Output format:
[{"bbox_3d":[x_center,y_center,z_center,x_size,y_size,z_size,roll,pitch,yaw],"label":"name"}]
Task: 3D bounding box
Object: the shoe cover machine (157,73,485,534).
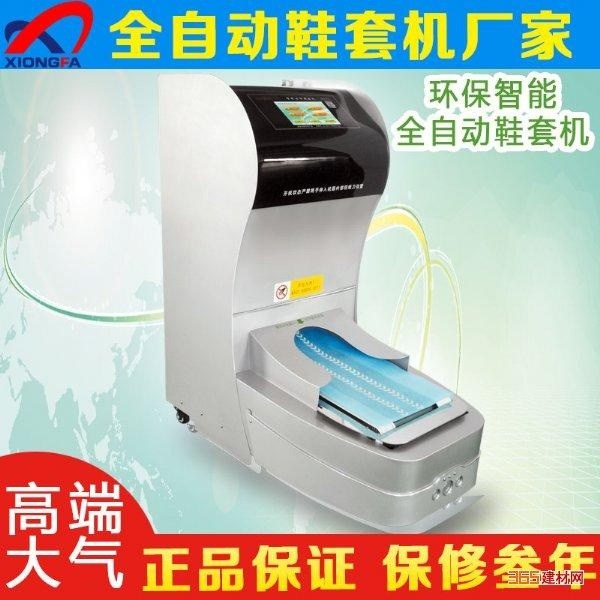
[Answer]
[{"bbox_3d":[0.091,-0.075,1.771,0.545,1.293,0.979,-14,21,-40],"label":"shoe cover machine"}]
